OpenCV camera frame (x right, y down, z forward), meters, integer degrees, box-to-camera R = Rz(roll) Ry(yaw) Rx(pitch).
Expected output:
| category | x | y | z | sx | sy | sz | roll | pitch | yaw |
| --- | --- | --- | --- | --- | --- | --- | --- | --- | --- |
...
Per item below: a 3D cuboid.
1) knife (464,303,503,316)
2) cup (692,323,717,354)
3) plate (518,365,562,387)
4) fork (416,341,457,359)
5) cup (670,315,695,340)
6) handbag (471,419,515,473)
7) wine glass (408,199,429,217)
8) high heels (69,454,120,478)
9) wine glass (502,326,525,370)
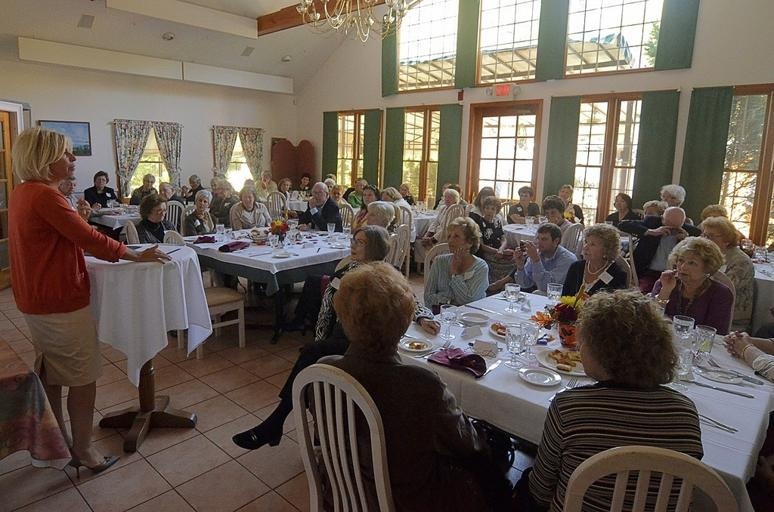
| category | x | y | z | sx | sy | sz | roll | pitch | yaw |
| --- | --- | --- | --- | --- | --- | --- | --- | --- | --- |
| knife | 0.684 | 0.383 | 3.472 | 0.034 | 0.020 | 0.257 | -6 | 8 | -20 |
| cup | 1.825 | 0.473 | 2.845 | 0.147 | 0.169 | 0.157 | 1 | 2 | 0 |
| plate | 0.825 | 0.654 | 2.640 | 0.220 | 0.044 | 0.167 | 1 | 11 | -1 |
| fork | 0.329 | 0.534 | 2.841 | 0.073 | 0.030 | 0.224 | 11 | 15 | 36 |
| cup | 1.669 | 0.407 | 2.764 | 0.130 | 0.149 | 0.131 | -2 | 3 | 0 |
| handbag | 0.577 | 1.014 | 2.661 | 0.224 | 0.273 | 0.375 | 3 | 12 | 13 |
| wine glass | 0.571 | -0.823 | 8.567 | 0.331 | 0.339 | 0.410 | 1 | -2 | 3 |
| high heels | -1.905 | 1.379 | 3.211 | 0.230 | 0.119 | 0.122 | -10 | 4 | -26 |
| wine glass | 0.729 | 0.502 | 2.797 | 0.096 | 0.213 | 0.186 | 4 | 12 | 16 |
